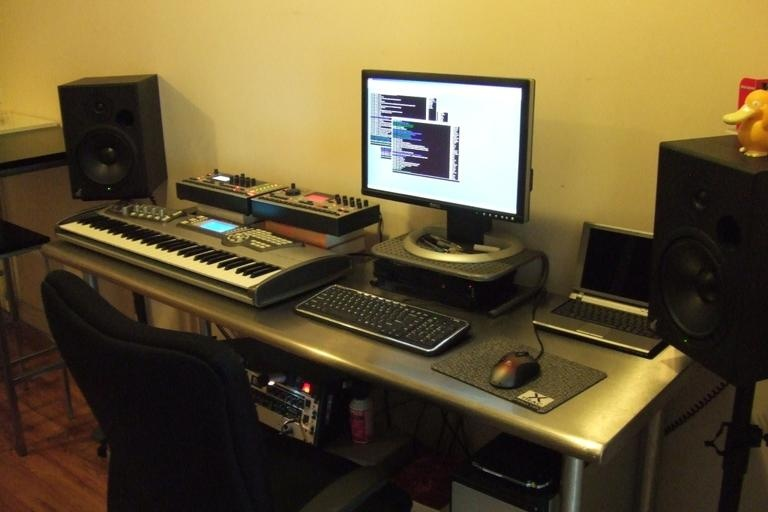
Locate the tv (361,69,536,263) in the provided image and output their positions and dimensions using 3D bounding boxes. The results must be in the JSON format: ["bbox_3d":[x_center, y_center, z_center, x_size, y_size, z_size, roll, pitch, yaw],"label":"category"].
[{"bbox_3d":[0.228,-0.316,2.101,0.562,0.505,0.301,14,24,34],"label":"tv"}]

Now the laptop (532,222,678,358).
[{"bbox_3d":[0.703,0.120,1.970,0.377,0.295,0.420,-22,29,-39],"label":"laptop"}]

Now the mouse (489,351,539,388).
[{"bbox_3d":[0.359,0.309,1.729,0.094,0.058,0.174,5,19,45],"label":"mouse"}]

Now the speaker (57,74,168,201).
[{"bbox_3d":[-1.209,-0.520,2.784,0.422,0.516,0.245,-8,23,-19],"label":"speaker"}]
